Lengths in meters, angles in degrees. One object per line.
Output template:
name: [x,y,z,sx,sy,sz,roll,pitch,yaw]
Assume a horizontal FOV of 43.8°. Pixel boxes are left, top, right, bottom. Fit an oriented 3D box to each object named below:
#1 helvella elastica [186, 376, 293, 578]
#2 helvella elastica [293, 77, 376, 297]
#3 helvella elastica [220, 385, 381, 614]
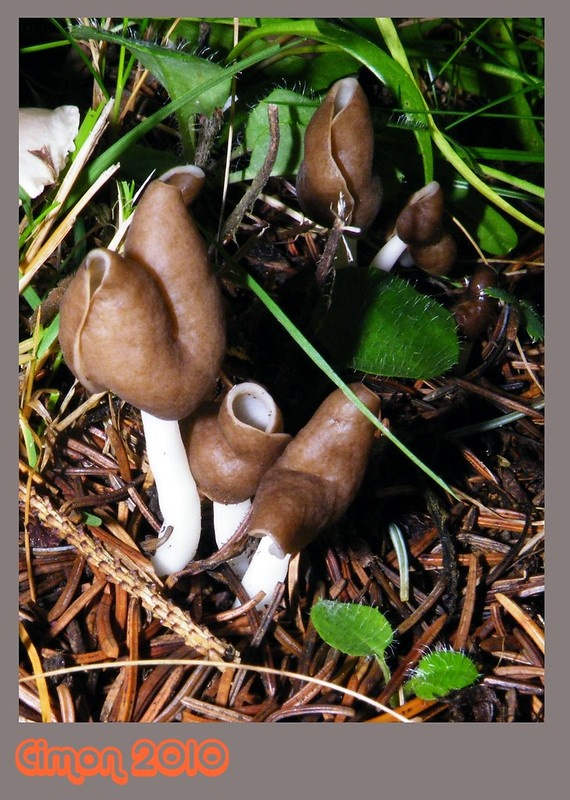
helvella elastica: [-0.084,0.151,1.265,0.178,0.394,0.194,16,39,18]
helvella elastica: [0.110,-0.412,1.456,0.170,0.438,0.157,-6,25,-20]
helvella elastica: [0.058,0.129,1.197,0.172,0.469,0.162,26,5,3]
